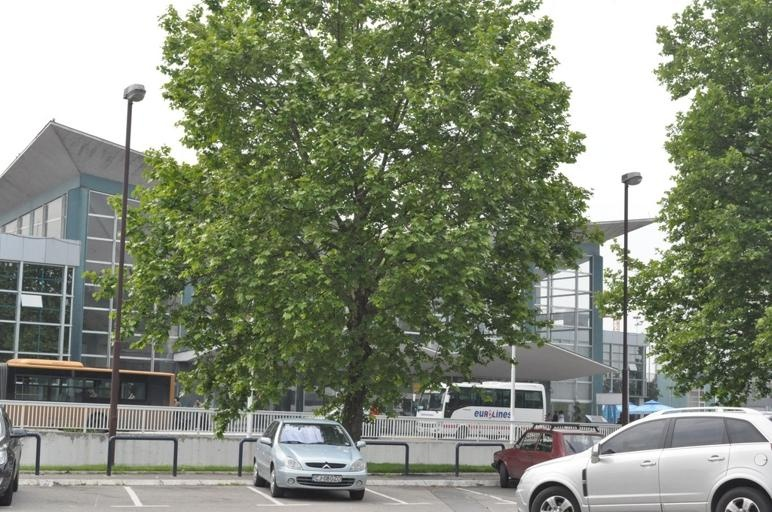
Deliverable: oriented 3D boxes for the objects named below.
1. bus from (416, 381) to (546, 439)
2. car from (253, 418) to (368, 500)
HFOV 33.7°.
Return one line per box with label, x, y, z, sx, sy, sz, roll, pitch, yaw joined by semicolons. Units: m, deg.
bus;4.793;7.906;66.234;8.759;3.576;3.086;6;-11;-20
car;-2.346;6.679;42.028;3.352;2.617;1.593;0;-11;5
